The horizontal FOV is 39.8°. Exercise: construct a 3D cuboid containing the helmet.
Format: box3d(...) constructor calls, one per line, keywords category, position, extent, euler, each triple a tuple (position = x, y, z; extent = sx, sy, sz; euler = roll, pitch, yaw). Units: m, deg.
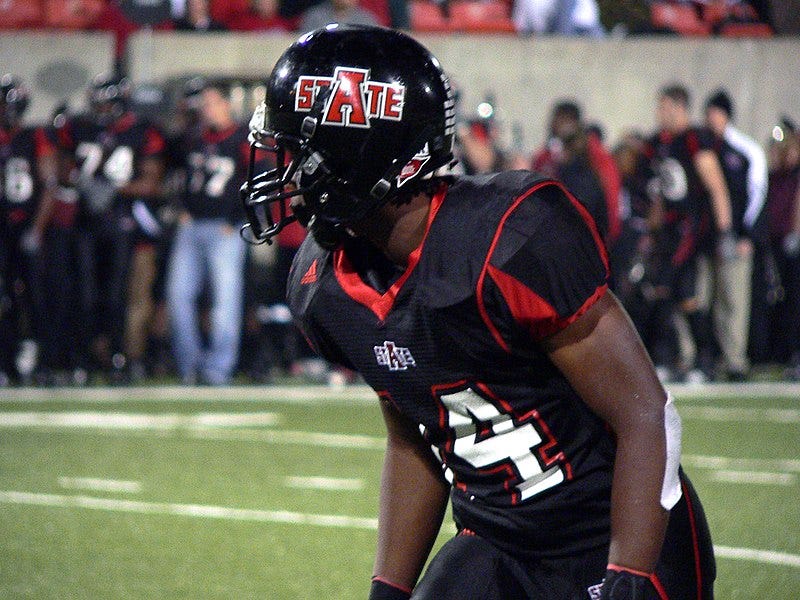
box3d(category="helmet", position=(-0.132, -0.501, 3.232), extent=(0.576, 0.613, 0.471), euler=(-1, 14, 5))
